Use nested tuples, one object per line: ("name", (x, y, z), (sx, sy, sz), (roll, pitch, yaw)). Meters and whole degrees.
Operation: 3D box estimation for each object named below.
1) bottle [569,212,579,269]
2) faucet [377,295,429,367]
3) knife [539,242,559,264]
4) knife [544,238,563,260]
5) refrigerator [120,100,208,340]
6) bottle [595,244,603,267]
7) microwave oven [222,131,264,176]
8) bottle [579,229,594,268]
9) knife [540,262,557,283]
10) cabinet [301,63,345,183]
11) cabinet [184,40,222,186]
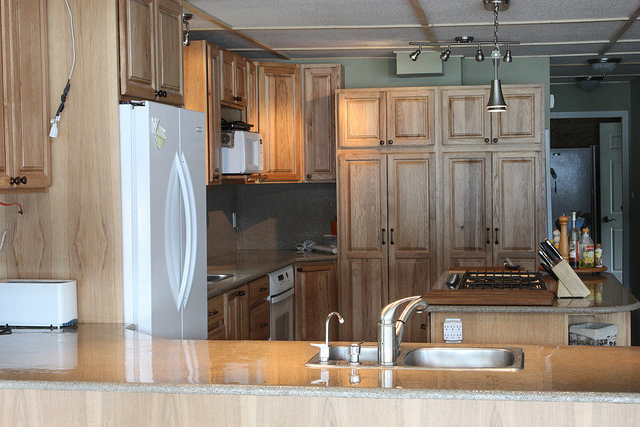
("bottle", (1.902, 0.189, 4.365), (0.079, 0.404, 0.229), (4, 9, 23))
("faucet", (0.367, 0.512, 2.674), (0.186, 0.338, 0.231), (3, 9, 23))
("knife", (1.542, 0.261, 3.937), (0.040, 0.033, 0.147), (47, 12, -40))
("knife", (1.562, 0.237, 3.932), (0.051, 0.059, 0.233), (-8, 37, -5))
("refrigerator", (-0.957, 0.092, 3.567), (0.315, 1.523, 0.684), (1, 8, 10))
("bottle", (2.066, 0.308, 4.333), (0.052, 0.156, 0.193), (4, 8, 23))
("microwave oven", (-0.745, -0.549, 5.344), (0.336, 0.335, 0.545), (0, 5, 9))
("bottle", (1.976, 0.250, 4.327), (0.109, 0.285, 0.137), (3, 9, 22))
("knife", (1.592, 0.407, 4.067), (0.248, 0.034, 0.030), (44, -11, -27))
("cabinet", (-0.095, -0.905, 6.036), (0.495, 1.215, 0.432), (-7, 10, -39))
("cabinet", (-1.016, -0.830, 5.013), (0.340, 1.178, 0.300), (5, 9, 16))
